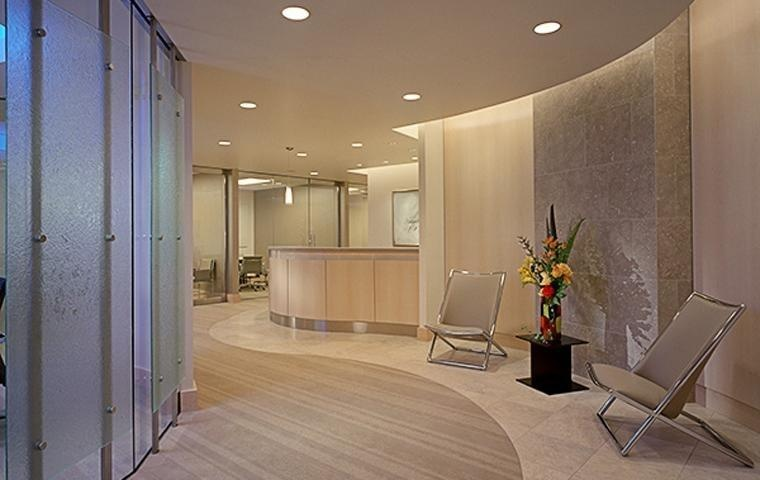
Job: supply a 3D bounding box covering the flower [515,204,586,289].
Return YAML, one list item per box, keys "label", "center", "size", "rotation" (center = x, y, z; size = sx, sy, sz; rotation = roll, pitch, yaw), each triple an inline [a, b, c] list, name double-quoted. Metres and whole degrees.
- label: "flower"
  center: [1.865, 0.086, 5.421]
  size: [0.612, 0.918, 0.772]
  rotation: [3, 8, 27]

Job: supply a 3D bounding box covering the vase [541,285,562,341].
- label: "vase"
  center: [1.762, 0.734, 5.191]
  size: [0.206, 0.538, 0.333]
  rotation: [1, 8, 19]

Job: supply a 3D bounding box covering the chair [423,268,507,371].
- label: "chair"
  center: [1.034, 0.903, 5.997]
  size: [0.779, 1.028, 1.022]
  rotation: [5, 8, 33]

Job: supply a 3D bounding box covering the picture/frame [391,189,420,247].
- label: "picture/frame"
  center: [0.496, -0.418, 10.062]
  size: [0.043, 1.070, 0.915]
  rotation: [-2, -1, 30]

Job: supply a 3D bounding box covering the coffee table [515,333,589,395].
- label: "coffee table"
  center: [1.770, 1.244, 5.191]
  size: [0.595, 0.500, 0.520]
  rotation: [-3, 7, -16]

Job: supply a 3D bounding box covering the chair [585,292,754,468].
- label: "chair"
  center: [2.342, 1.064, 4.123]
  size: [1.089, 1.193, 0.727]
  rotation: [0, 7, 9]
